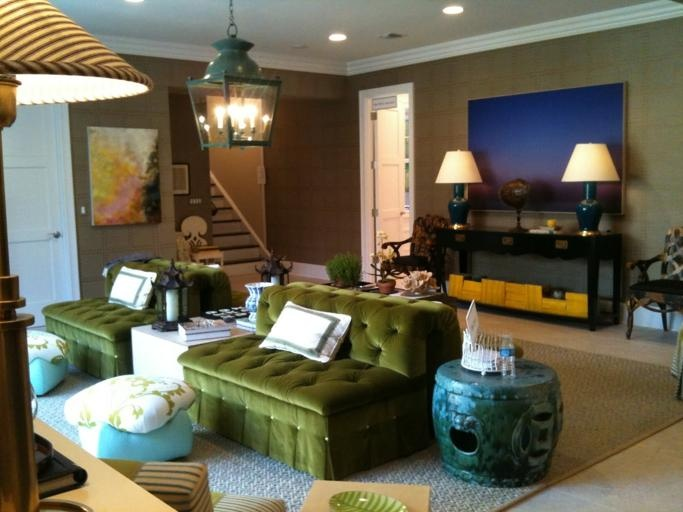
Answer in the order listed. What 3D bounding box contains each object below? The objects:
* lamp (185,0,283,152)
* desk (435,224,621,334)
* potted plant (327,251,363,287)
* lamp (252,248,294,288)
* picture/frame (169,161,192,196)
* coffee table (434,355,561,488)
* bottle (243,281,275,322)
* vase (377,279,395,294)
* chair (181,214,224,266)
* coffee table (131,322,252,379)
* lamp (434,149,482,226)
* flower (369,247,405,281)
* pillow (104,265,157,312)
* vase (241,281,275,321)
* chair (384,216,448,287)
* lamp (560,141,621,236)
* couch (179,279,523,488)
[{"bbox_3d":[-0.654,-1.010,3.320,0.553,0.684,0.284,-3,9,-12],"label":"lamp"},{"bbox_3d":[2.047,0.141,6.299,1.866,0.957,0.554,7,17,44],"label":"desk"},{"bbox_3d":[0.028,0.111,4.878,0.289,0.310,0.302,-1,8,1],"label":"potted plant"},{"bbox_3d":[-0.555,0.151,4.466,0.271,0.290,0.276,-8,11,-8],"label":"lamp"},{"bbox_3d":[-2.546,-1.196,8.521,0.419,0.509,0.020,3,9,25],"label":"picture/frame"},{"bbox_3d":[0.862,0.875,2.962,0.687,0.529,0.710,-3,5,12],"label":"coffee table"},{"bbox_3d":[-0.602,0.323,4.121,0.264,0.315,0.255,-4,9,-36],"label":"bottle"},{"bbox_3d":[0.389,0.259,4.793,0.124,0.090,0.127,2,8,25],"label":"vase"},{"bbox_3d":[-2.159,-0.165,8.448,0.516,0.837,0.570,-7,11,-42],"label":"chair"},{"bbox_3d":[-1.261,0.679,3.923,0.491,0.308,0.475,-4,9,-37],"label":"coffee table"},{"bbox_3d":[1.445,-0.821,6.611,0.602,0.910,0.527,-8,11,-38],"label":"lamp"},{"bbox_3d":[0.573,0.096,6.571,0.394,0.549,0.460,-1,2,-39],"label":"flower"},{"bbox_3d":[-1.919,0.303,4.841,0.426,0.558,0.115,-6,51,-39],"label":"pillow"},{"bbox_3d":[-0.608,0.331,4.182,0.263,0.308,0.255,-3,9,-34],"label":"vase"},{"bbox_3d":[0.932,-0.024,7.179,0.729,0.868,0.709,-6,-4,6],"label":"chair"},{"bbox_3d":[2.570,-0.694,5.515,0.553,0.906,0.465,-7,10,-33],"label":"lamp"},{"bbox_3d":[-0.017,0.718,3.220,1.004,0.723,1.422,-5,7,-43],"label":"couch"}]
